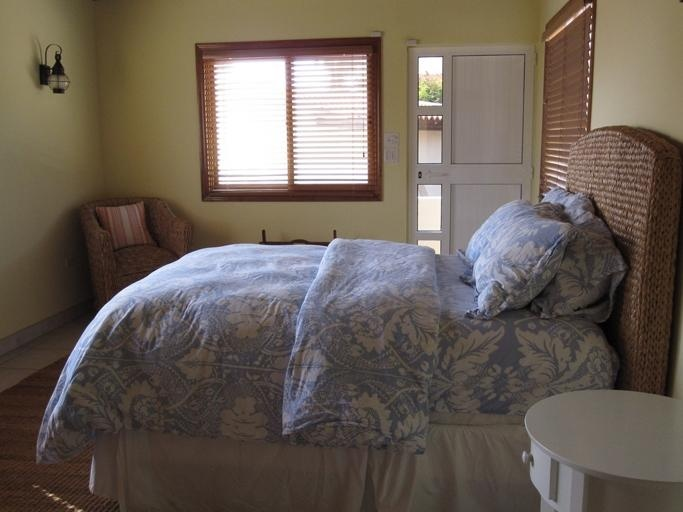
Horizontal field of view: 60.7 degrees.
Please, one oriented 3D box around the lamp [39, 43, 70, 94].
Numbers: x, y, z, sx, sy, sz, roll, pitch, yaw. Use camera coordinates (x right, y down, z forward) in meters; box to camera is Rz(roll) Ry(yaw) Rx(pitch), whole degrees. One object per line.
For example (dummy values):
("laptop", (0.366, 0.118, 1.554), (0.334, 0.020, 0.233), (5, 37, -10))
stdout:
("lamp", (-2.334, -1.557, 4.840), (0.212, 0.399, 0.354), (0, 14, 2))
